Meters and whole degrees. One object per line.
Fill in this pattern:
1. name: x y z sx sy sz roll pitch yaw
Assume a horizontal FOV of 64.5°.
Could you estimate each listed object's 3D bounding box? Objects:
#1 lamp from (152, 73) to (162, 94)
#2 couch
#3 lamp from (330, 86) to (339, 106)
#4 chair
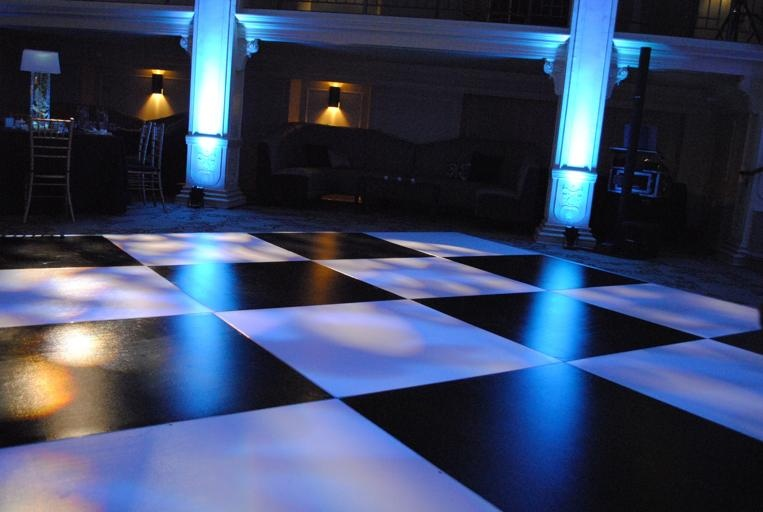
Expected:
1. lamp: -4.613 -3.534 12.421 0.246 0.386 0.211 4 12 -11
2. couch: 0.334 -1.267 9.104 3.974 1.171 2.094 7 11 10
3. lamp: -0.932 -3.166 12.049 0.202 0.380 0.156 4 12 -8
4. chair: -3.163 -0.900 6.658 1.573 1.055 0.577 -11 30 -42
